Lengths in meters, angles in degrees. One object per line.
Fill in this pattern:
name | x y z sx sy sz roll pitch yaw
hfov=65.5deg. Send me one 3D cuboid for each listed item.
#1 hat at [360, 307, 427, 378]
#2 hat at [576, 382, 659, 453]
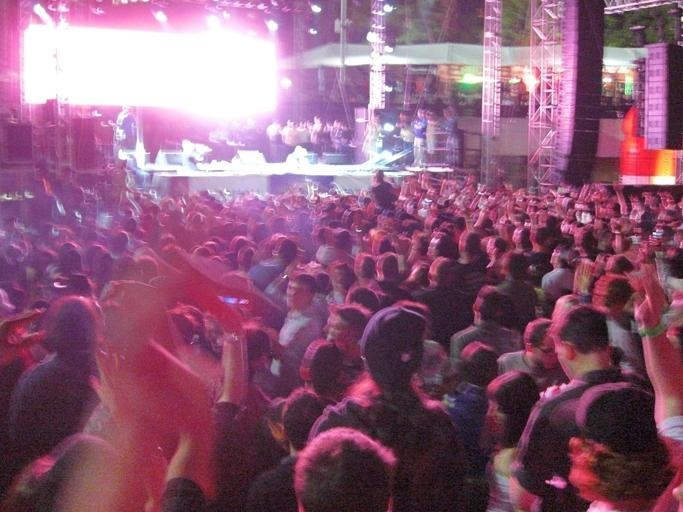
hat | 0.172 0.324 1.937 0.173 0.262 0.242 7 -21 -16
hat | 0.874 0.495 1.718 0.219 0.188 0.222 0 9 -23
